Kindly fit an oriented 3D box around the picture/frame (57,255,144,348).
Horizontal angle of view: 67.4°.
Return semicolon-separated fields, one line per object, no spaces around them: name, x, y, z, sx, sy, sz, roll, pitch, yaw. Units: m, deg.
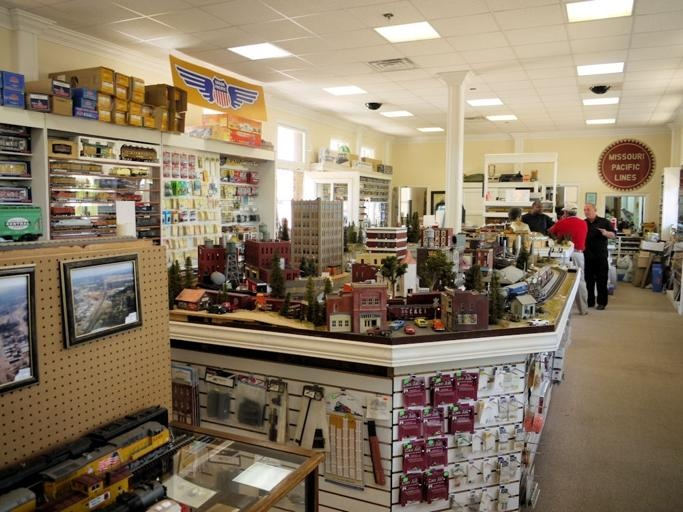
picture/frame;-1.117;0.199;2.325;0.032;0.424;0.459;-1;3;41

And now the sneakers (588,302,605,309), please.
sneakers;5.096;1.001;10.180;0.095;0.110;0.271;-2;1;-37

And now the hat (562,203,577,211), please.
hat;4.645;-0.984;10.373;0.392;0.175;0.547;0;3;24

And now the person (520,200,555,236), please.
person;3.937;-0.696;10.296;0.896;0.763;0.432;0;-1;10

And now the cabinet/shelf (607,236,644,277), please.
cabinet/shelf;7.355;0.014;13.165;1.059;0.939;0.362;6;13;17
